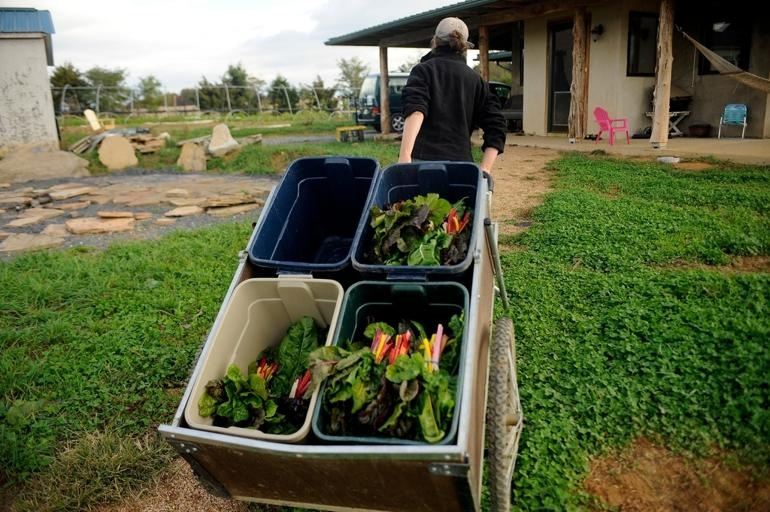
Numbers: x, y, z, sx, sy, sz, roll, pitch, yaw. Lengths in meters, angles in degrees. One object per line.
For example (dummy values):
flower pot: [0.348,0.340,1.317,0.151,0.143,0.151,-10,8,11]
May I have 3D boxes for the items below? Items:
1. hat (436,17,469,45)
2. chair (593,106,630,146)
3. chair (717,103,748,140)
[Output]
hat: [0.625,-2.138,4.413,0.283,0.245,0.226,5,20,21]
chair: [5.894,-3.403,12.274,0.649,0.843,0.856,-7,17,-18]
chair: [9.273,-3.596,12.418,0.644,0.897,1.170,10,22,33]
